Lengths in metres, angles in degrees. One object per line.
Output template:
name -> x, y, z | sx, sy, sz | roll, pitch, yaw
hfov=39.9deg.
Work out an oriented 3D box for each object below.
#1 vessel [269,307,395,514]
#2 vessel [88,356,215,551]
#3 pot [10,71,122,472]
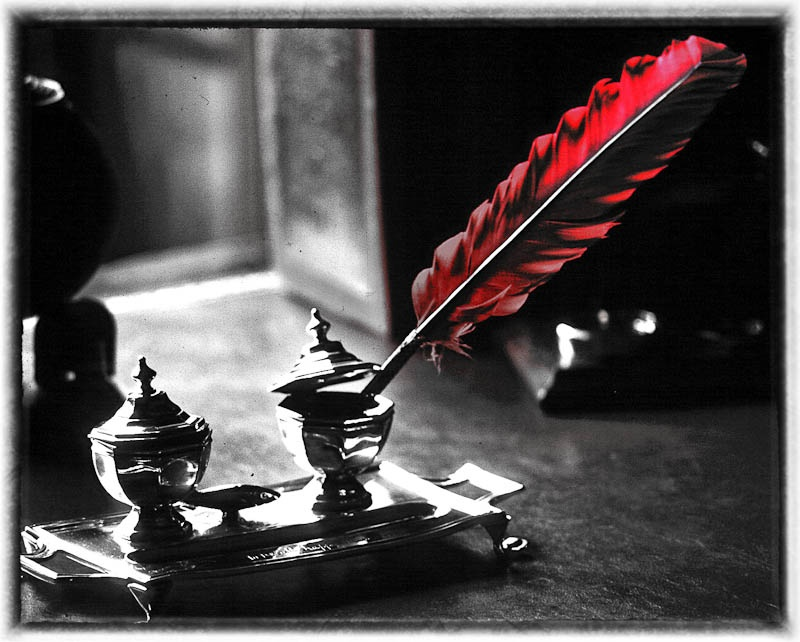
vessel -> -0.125, 0.166, 2.032 | 0.232, 0.325, 0.244 | -9, 10, -39
vessel -> -0.426, 0.233, 1.970 | 0.265, 0.272, 0.205 | -2, -2, -2
pot -> -0.596, -0.092, 2.000 | 0.168, 0.685, 0.245 | 0, 19, -17
